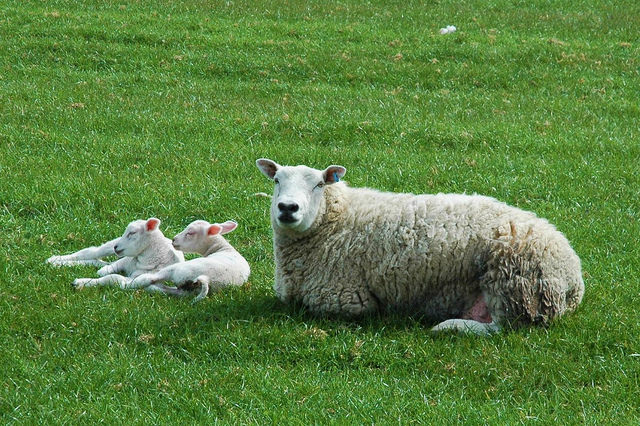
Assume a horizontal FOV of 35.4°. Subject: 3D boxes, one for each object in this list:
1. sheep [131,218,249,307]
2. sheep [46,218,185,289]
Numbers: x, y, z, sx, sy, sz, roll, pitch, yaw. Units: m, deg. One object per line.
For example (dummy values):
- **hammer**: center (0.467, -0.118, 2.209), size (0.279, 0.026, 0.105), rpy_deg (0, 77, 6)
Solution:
- **sheep**: center (-2.796, 1.067, 22.850), size (1.279, 1.469, 3.201), rpy_deg (7, 6, -45)
- **sheep**: center (-4.565, 0.913, 23.120), size (2.421, 0.974, 1.781), rpy_deg (-1, 5, -31)
